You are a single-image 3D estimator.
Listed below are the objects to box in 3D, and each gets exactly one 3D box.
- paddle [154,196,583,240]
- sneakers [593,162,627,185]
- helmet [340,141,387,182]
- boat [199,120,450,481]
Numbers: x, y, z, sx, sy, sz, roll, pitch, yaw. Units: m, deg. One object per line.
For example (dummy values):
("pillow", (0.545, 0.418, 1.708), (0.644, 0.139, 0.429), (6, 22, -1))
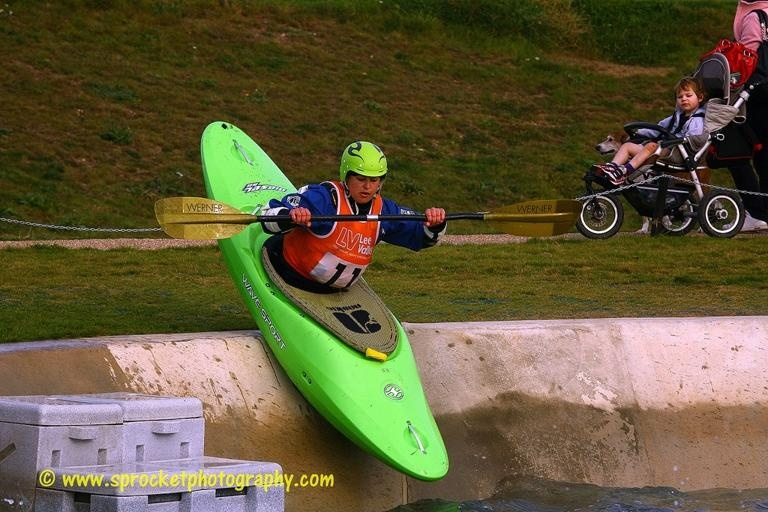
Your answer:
("paddle", (-1.712, -0.518, 15.597), (4.541, 0.206, 0.615), (0, 57, -5))
("sneakers", (3.498, -1.304, 19.643), (0.508, 0.209, 0.249), (14, 54, -35))
("helmet", (-0.285, -1.207, 15.613), (0.449, 0.384, 0.536), (6, 27, -20))
("boat", (-1.218, 0.686, 16.369), (1.804, 1.242, 6.190), (-19, 64, -40))
